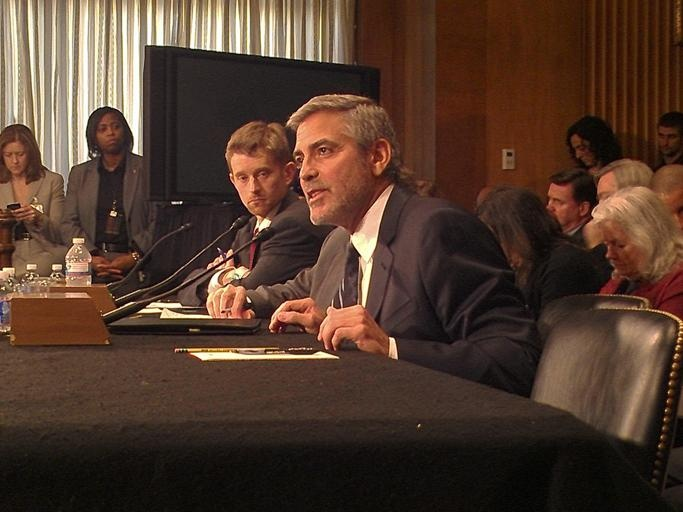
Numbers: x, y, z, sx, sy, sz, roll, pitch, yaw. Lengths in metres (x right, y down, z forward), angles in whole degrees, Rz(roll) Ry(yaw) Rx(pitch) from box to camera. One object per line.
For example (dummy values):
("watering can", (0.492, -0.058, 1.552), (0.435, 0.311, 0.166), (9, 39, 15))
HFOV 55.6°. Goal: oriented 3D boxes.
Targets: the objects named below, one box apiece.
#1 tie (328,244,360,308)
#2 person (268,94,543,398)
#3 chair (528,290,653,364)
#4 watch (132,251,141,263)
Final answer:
("tie", (0.021, 0.062, 2.025), (0.135, 0.181, 0.065), (1, 5, 2))
("person", (0.177, -0.093, 1.814), (0.554, 0.778, 0.797), (-1, 7, -13))
("chair", (0.665, 0.186, 1.711), (0.205, 0.208, 0.160), (3, -7, 4))
("watch", (-1.708, 0.008, 5.367), (0.096, 0.072, 0.098), (4, -6, -28))
